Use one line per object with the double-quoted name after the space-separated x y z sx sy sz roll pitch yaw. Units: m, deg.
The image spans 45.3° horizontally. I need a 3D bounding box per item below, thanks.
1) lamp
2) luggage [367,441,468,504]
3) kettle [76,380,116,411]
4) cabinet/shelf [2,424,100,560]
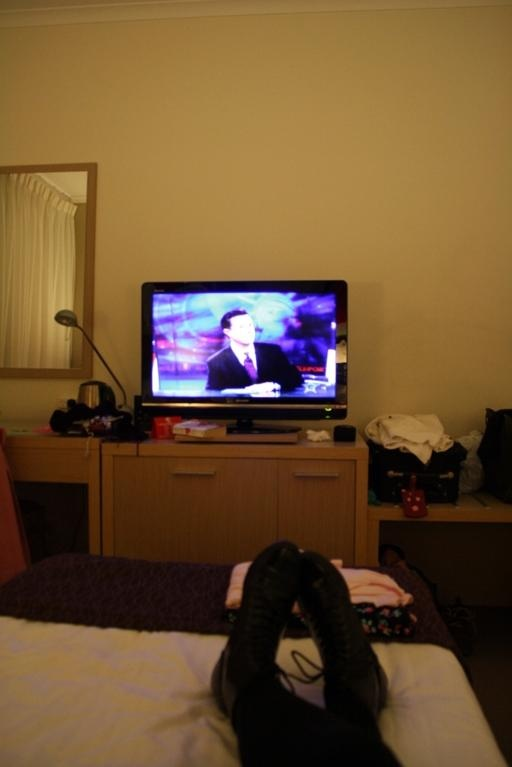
-0.685 -0.111 2.567 0.275 0.420 0.258 -2 15 -18 "lamp"
0.541 0.301 2.285 0.403 0.216 0.409 5 3 10 "luggage"
-0.606 0.051 2.337 0.132 0.086 0.207 -1 15 -16 "kettle"
-0.650 0.374 2.320 0.457 0.494 0.367 0 -2 3 "cabinet/shelf"
